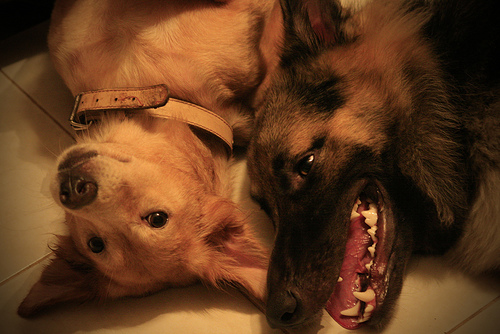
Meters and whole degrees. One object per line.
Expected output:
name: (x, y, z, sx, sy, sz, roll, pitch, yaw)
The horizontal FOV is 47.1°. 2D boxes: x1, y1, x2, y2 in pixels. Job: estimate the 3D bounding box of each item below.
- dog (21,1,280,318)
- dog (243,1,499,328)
dog: (-0.402, -0.151, 2.434, 0.806, 1.861, 0.603, -10, 8, -28)
dog: (0.464, -0.040, 2.252, 0.966, 1.079, 0.713, 0, 29, -2)
